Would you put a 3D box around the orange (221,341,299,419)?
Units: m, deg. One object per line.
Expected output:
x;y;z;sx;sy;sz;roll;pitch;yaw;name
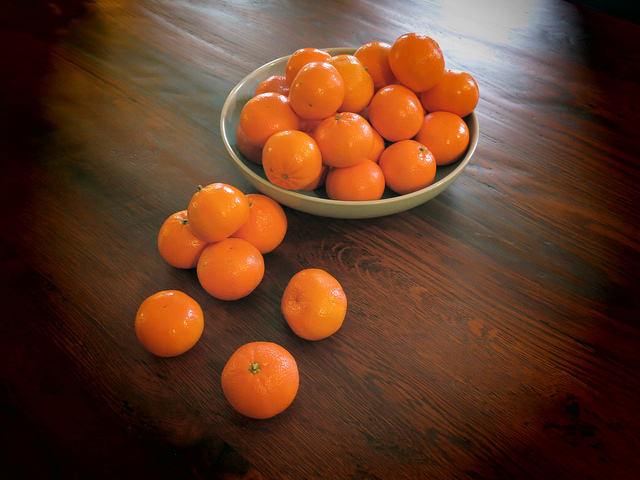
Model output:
-0.095;0.224;0.903;0.122;0.112;0.119;-42;79;-9;orange

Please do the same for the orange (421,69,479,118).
0.264;-0.291;1.133;0.103;0.121;0.100;-17;93;-2;orange

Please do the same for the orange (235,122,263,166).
-0.148;-0.195;1.086;0.034;0.070;0.069;-20;49;27;orange

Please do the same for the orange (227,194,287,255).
-0.119;-0.046;1.064;0.148;0.143;0.124;-2;89;-3;orange

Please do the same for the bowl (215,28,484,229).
0.036;-0.273;1.105;0.473;0.254;0.466;0;45;0;bowl

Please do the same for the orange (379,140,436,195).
0.178;-0.152;1.071;0.123;0.119;0.116;7;94;19;orange

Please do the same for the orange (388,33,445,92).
0.202;-0.377;1.112;0.109;0.125;0.106;11;57;32;orange

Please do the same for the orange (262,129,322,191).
-0.057;-0.159;1.037;0.132;0.137;0.131;-4;83;6;orange

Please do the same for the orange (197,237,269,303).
-0.166;0.060;0.995;0.127;0.093;0.116;6;65;-4;orange

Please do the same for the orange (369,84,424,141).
0.147;-0.248;1.033;0.109;0.105;0.122;1;103;21;orange

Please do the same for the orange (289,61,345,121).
-0.019;-0.300;1.065;0.106;0.118;0.102;-1;54;-10;orange

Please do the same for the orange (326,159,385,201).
0.069;-0.110;1.011;0.094;0.089;0.084;-3;106;11;orange

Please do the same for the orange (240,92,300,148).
-0.088;-0.248;1.090;0.139;0.139;0.098;0;105;14;orange

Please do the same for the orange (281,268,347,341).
-0.013;0.113;0.916;0.116;0.092;0.120;-24;67;37;orange

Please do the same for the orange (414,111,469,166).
0.252;-0.226;1.097;0.114;0.112;0.079;0;98;9;orange

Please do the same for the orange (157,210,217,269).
-0.261;0.000;1.014;0.103;0.092;0.101;-22;52;-40;orange
